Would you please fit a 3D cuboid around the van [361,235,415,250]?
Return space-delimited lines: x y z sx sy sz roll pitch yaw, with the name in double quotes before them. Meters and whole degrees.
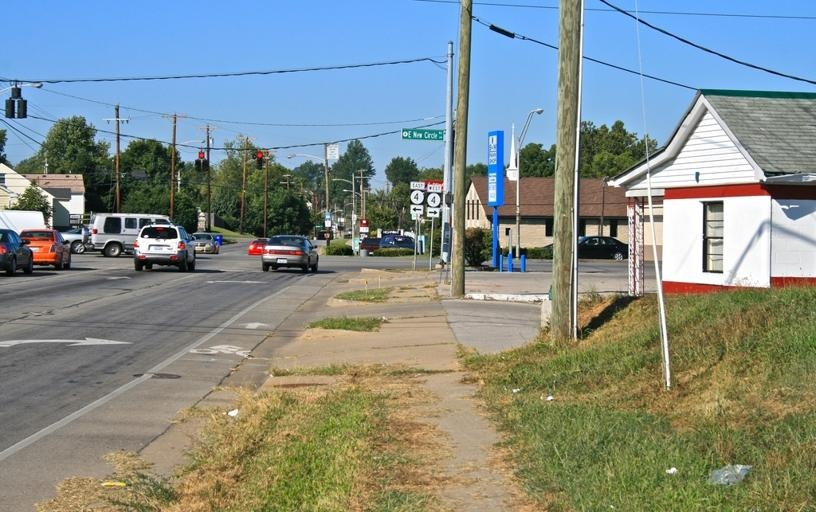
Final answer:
"van" -1.577 -1.016 66.891 2.997 0.987 1.634 -2 1 14

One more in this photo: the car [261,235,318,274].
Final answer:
"car" -5.845 -0.115 43.869 2.561 1.753 5.468 3 1 1
